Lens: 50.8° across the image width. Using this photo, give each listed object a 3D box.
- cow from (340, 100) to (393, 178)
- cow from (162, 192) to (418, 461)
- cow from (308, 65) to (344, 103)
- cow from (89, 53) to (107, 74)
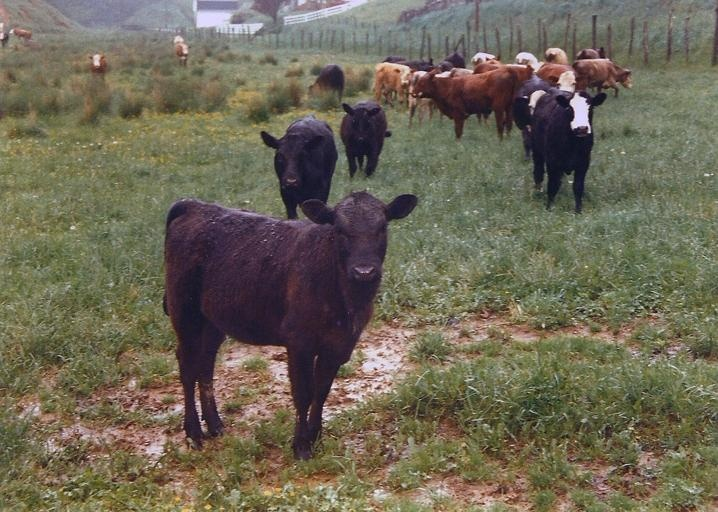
[{"bbox_3d":[0.100,-2.641,17.382,0.966,1.578,1.677,-1,18,1],"label":"cow"},{"bbox_3d":[-0.987,0.852,9.252,3.847,3.125,1.401,1,3,37],"label":"cow"},{"bbox_3d":[-1.076,-5.818,25.785,1.181,1.064,2.412,-1,18,-2],"label":"cow"},{"bbox_3d":[-9.653,-6.992,27.923,0.497,0.695,1.699,-7,19,-18],"label":"cow"}]
